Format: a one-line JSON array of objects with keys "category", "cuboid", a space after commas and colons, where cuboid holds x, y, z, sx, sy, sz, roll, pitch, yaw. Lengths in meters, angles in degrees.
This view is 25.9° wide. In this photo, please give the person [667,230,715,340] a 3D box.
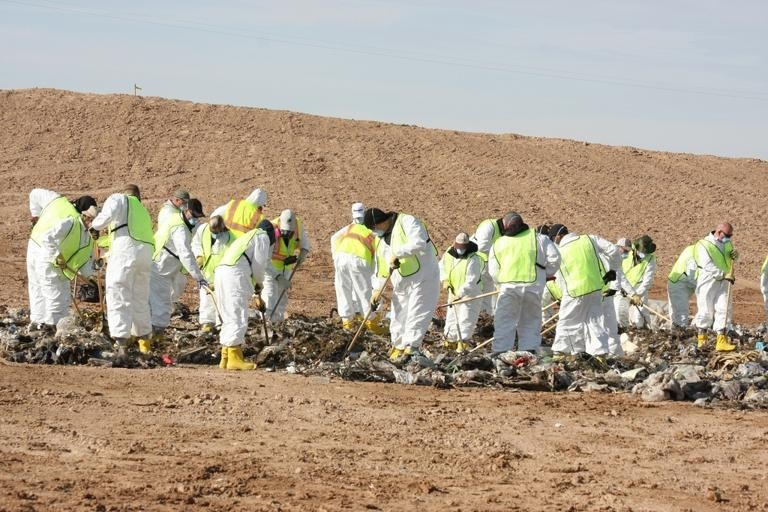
[{"category": "person", "cuboid": [7.172, 0.771, 39.129, 1.072, 0.924, 2.862, -4, -38, 2]}]

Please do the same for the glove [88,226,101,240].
[{"category": "glove", "cuboid": [-6.126, -0.533, 35.740, 0.272, 0.280, 0.337, 12, -17, -43]}]

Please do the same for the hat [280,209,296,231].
[{"category": "hat", "cuboid": [-2.038, -0.856, 36.146, 0.347, 0.434, 0.241, -2, -34, -19]}]

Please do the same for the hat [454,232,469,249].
[{"category": "hat", "cuboid": [1.677, -0.392, 36.283, 0.273, 0.283, 0.348, 10, -5, 22]}]

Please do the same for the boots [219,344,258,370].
[{"category": "boots", "cuboid": [-2.933, 2.118, 34.121, 0.733, 0.490, 0.359, 3, -1, -5]}]

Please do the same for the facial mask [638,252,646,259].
[{"category": "facial mask", "cuboid": [5.915, -0.068, 38.354, 0.073, 0.063, 0.218, -24, -23, 15]}]

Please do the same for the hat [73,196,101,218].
[{"category": "hat", "cuboid": [-6.077, -1.095, 34.638, 0.540, 0.503, 0.164, -19, -1, -34]}]

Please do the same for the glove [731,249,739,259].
[{"category": "glove", "cuboid": [7.835, -0.085, 37.355, 0.197, 0.232, 0.108, -4, -3, 37]}]

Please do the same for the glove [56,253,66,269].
[{"category": "glove", "cuboid": [-6.524, 0.078, 34.062, 0.198, 0.247, 0.105, -3, 2, 6]}]

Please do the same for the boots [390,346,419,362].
[{"category": "boots", "cuboid": [0.439, 2.055, 34.439, 0.612, 0.275, 0.695, 3, -1, 0]}]

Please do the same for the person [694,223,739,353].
[{"category": "person", "cuboid": [7.399, 0.640, 37.451, 0.936, 2.472, 0.589, 3, -1, 26]}]

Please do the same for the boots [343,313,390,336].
[{"category": "boots", "cuboid": [-0.506, 1.531, 36.985, 1.320, 0.522, 0.389, -2, 9, -9]}]

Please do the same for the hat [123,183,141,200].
[{"category": "hat", "cuboid": [-5.175, -1.395, 34.801, 0.472, 0.337, 0.376, -7, 18, -7]}]

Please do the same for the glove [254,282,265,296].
[{"category": "glove", "cuboid": [-2.531, 0.662, 34.273, 0.182, 0.210, 0.221, 0, -6, -9]}]

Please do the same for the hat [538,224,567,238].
[{"category": "hat", "cuboid": [3.706, -0.611, 36.014, 0.804, 0.338, 0.494, -1, 2, 23]}]

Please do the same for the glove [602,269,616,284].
[{"category": "glove", "cuboid": [4.757, 0.410, 35.412, 0.274, 0.197, 0.145, -21, 32, -24]}]

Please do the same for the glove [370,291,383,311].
[{"category": "glove", "cuboid": [-0.190, 0.965, 34.658, 0.131, 0.317, 0.239, 24, 24, -3]}]

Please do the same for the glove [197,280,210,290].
[{"category": "glove", "cuboid": [-3.747, 0.579, 35.124, 0.314, 0.288, 0.077, 2, 0, 1]}]

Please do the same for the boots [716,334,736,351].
[{"category": "boots", "cuboid": [7.573, 1.944, 37.088, 0.441, 0.331, 0.840, 3, -1, 11]}]

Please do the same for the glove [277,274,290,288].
[{"category": "glove", "cuboid": [-2.094, 0.518, 35.665, 0.276, 0.232, 0.313, 4, -9, -22]}]
